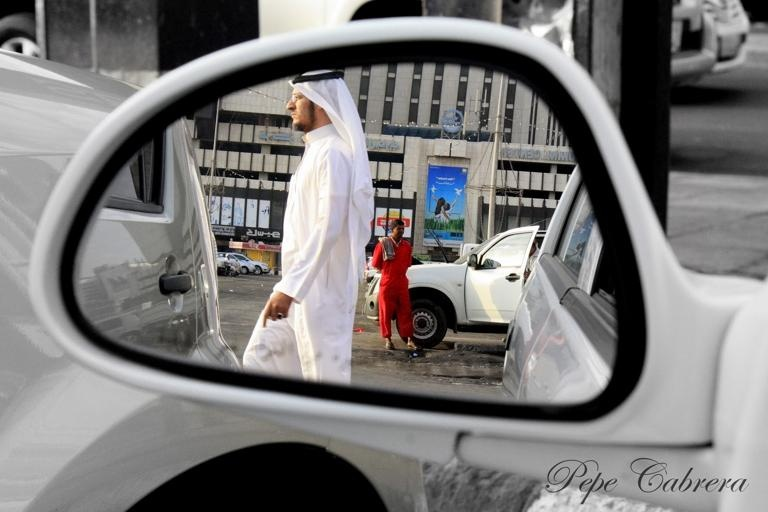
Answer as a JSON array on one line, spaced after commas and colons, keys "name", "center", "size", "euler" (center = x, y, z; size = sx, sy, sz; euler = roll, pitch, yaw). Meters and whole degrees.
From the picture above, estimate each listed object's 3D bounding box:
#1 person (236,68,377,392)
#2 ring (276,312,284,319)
[{"name": "person", "center": [-0.213, 0.000, 1.827], "size": [0.309, 0.957, 0.311], "euler": [8, 23, 14]}, {"name": "ring", "center": [-0.248, 0.145, 1.671], "size": [0.009, 0.011, 0.010], "euler": [-3, -4, 0]}]
